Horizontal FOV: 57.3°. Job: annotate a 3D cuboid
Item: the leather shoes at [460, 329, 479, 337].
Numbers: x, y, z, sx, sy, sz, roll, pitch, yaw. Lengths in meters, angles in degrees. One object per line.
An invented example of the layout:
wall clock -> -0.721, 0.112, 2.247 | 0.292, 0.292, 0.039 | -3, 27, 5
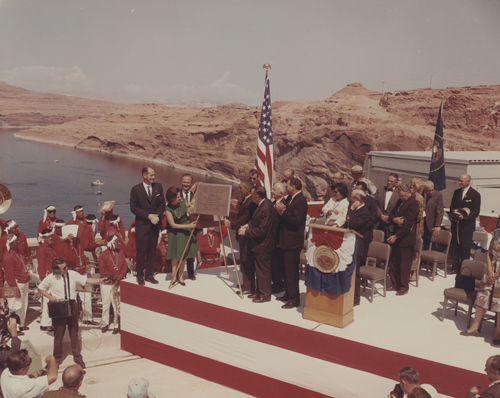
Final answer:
leather shoes -> 3.587, 2.214, 7.519 | 0.313, 0.095, 0.109 | -1, -2, 13

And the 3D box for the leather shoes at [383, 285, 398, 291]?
leather shoes -> 2.769, 1.772, 9.015 | 0.320, 0.131, 0.122 | 1, -3, 11

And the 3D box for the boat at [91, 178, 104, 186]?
boat -> -7.470, -0.769, 22.505 | 0.209, 0.288, 0.745 | 1, -3, 20

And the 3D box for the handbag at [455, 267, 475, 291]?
handbag -> 3.749, 1.415, 7.967 | 0.361, 0.490, 0.158 | 10, 6, 40

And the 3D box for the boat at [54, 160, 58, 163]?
boat -> -9.164, -1.813, 21.812 | 0.130, 0.137, 0.029 | 4, 49, -16

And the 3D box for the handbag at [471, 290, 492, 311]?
handbag -> 3.744, 1.636, 7.327 | 0.246, 0.312, 0.117 | 9, 10, 42

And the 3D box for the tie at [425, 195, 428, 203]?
tie -> 3.804, 0.002, 9.847 | 0.024, 0.102, 0.077 | 11, -5, -7

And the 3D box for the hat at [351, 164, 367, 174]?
hat -> 2.280, -0.639, 9.928 | 0.341, 0.130, 0.383 | 0, 3, -11

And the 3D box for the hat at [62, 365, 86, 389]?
hat -> -2.539, 2.595, 6.592 | 0.255, 0.362, 0.352 | -2, 8, -28
